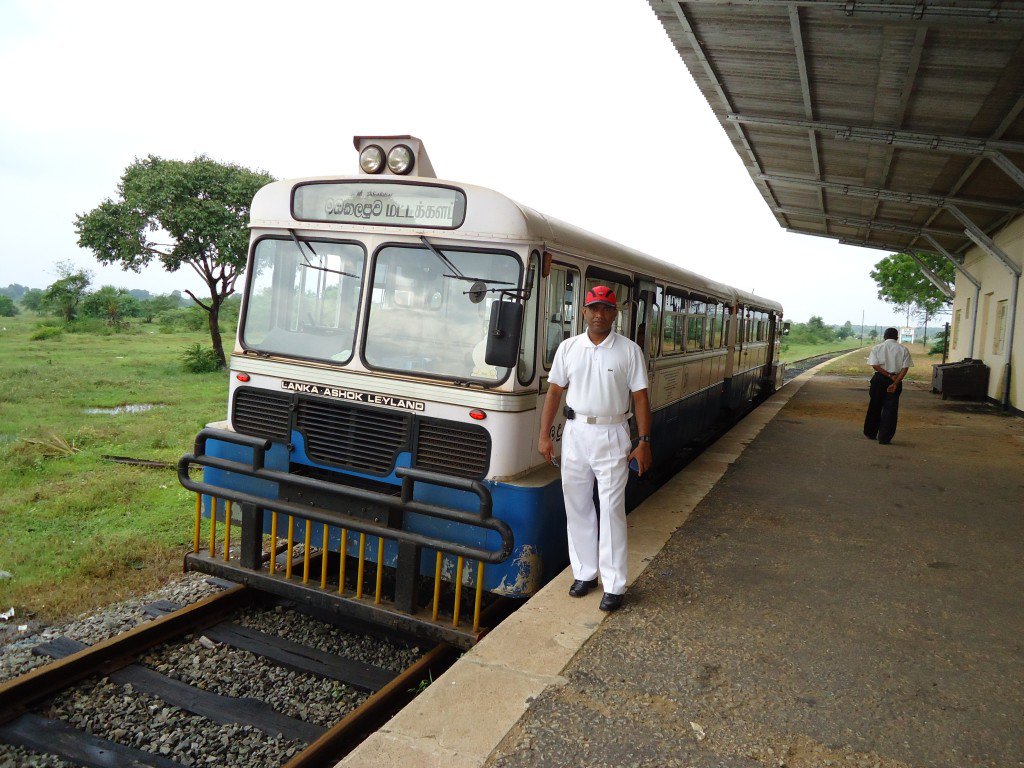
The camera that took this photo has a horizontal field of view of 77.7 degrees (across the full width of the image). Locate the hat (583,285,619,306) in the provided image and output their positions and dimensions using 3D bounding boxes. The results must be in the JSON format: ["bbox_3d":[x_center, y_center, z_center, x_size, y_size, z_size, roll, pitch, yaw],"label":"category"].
[{"bbox_3d":[0.680,-0.684,4.869,0.185,0.124,0.255,2,-9,9],"label":"hat"}]

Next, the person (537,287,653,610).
[{"bbox_3d":[0.642,0.488,4.962,0.799,2.464,0.387,7,9,23],"label":"person"}]

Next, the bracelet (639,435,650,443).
[{"bbox_3d":[1.015,0.424,4.901,0.070,0.050,0.094,0,2,11],"label":"bracelet"}]

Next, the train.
[{"bbox_3d":[1.446,-1.037,10.545,3.484,3.339,11.825,5,9,24],"label":"train"}]

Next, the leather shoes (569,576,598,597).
[{"bbox_3d":[0.579,1.651,5.141,0.092,0.105,0.267,-5,-9,34],"label":"leather shoes"}]
